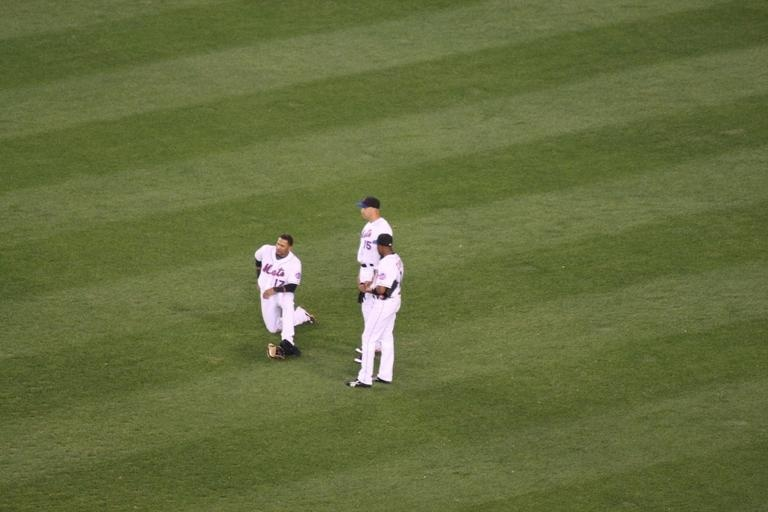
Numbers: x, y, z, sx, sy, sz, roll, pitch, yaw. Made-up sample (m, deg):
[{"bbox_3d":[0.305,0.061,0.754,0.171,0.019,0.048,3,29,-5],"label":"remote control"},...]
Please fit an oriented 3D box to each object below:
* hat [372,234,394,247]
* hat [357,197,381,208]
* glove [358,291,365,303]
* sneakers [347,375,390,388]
[{"bbox_3d":[0.049,-0.344,30.858,0.238,0.248,0.213,-7,71,-6],"label":"hat"},{"bbox_3d":[-0.233,-1.009,31.496,0.316,0.203,0.135,5,107,6],"label":"hat"},{"bbox_3d":[-0.328,0.633,31.351,0.057,0.133,0.161,-2,86,-50],"label":"glove"},{"bbox_3d":[-0.225,2.059,31.107,0.747,0.243,0.240,3,92,-5],"label":"sneakers"}]
